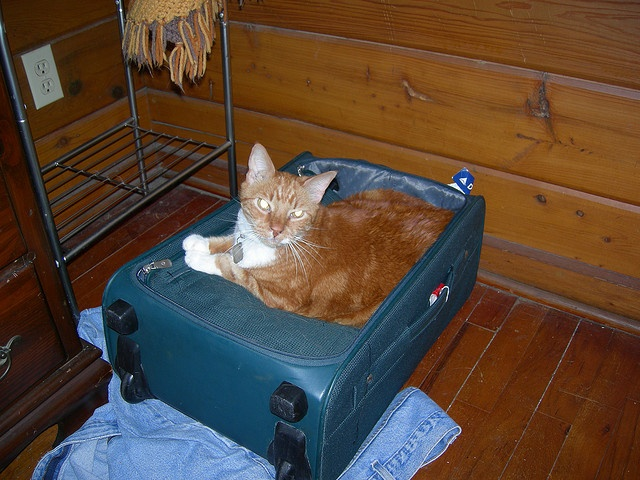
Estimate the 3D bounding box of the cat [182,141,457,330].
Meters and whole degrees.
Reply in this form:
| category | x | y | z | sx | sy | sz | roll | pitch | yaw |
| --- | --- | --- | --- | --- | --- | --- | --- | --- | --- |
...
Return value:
| category | x | y | z | sx | sy | sz | roll | pitch | yaw |
| --- | --- | --- | --- | --- | --- | --- | --- | --- | --- |
| cat | 0.038 | -0.206 | 1.957 | 0.819 | 0.634 | 0.791 | 7 | 30 | 6 |

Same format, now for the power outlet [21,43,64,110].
| category | x | y | z | sx | sy | sz | roll | pitch | yaw |
| --- | --- | --- | --- | --- | --- | --- | --- | --- | --- |
| power outlet | -1.056 | -0.621 | 2.020 | 0.046 | 0.196 | 0.136 | 20 | 26 | 21 |
